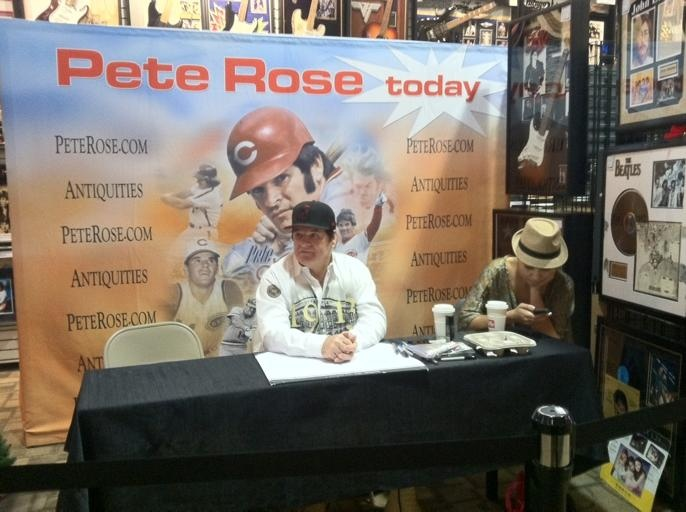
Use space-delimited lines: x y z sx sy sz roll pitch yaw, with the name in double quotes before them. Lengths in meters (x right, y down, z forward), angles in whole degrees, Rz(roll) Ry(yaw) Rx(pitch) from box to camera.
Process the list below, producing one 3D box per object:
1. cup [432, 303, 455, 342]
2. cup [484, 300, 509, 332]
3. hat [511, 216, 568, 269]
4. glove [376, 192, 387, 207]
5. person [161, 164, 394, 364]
"cup" 0.545 0.355 3.260 0.152 0.220 0.159 -1 -3 0
"cup" 0.854 0.324 3.257 0.137 0.147 0.138 1 3 0
"hat" 1.246 -0.090 3.712 0.322 0.289 0.252 0 9 18
"glove" 0.321 -0.473 4.873 0.087 0.107 0.064 30 -5 5
"person" -0.562 0.028 4.061 1.200 1.137 0.767 -5 6 2
